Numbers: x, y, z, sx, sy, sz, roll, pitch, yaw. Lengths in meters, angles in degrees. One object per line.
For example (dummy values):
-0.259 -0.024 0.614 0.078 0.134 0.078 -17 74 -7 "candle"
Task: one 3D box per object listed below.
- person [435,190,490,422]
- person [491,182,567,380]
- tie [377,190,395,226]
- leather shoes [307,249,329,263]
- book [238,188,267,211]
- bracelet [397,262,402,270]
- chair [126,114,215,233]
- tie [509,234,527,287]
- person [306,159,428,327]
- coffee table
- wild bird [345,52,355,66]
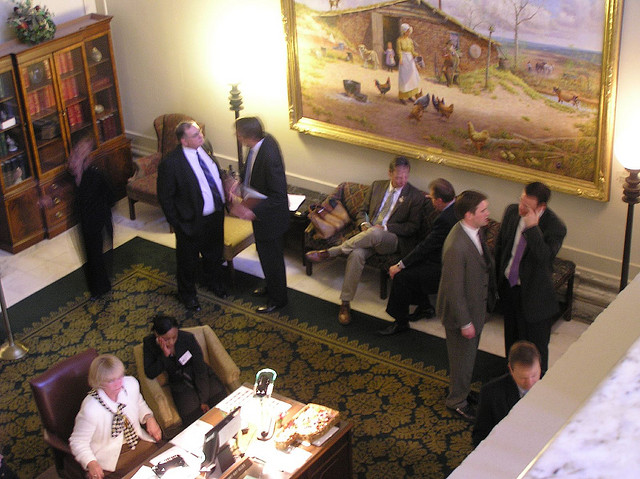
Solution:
1.155 0.577 4.278 0.424 1.964 0.339 5 25 9 "person"
1.740 0.342 4.428 0.607 1.692 0.419 12 27 22 "person"
0.743 -0.332 5.889 0.074 0.327 0.255 26 -15 -23 "tie"
-0.025 0.182 6.109 0.295 0.108 0.234 -3 11 24 "leather shoes"
-0.711 -0.427 5.412 0.191 0.087 0.255 -19 35 -34 "book"
0.813 0.278 5.386 0.054 0.058 0.018 20 17 34 "bracelet"
-2.160 -0.952 7.430 0.984 1.368 1.005 27 35 36 "chair"
1.644 0.166 4.419 0.062 0.412 0.096 13 -5 -39 "tie"
0.519 -0.033 5.778 1.319 1.598 0.777 -19 30 -39 "person"
-0.524 -0.101 6.323 1.051 1.022 0.850 11 37 17 "coffee table"
0.341 -2.109 6.141 0.109 0.114 0.028 8 18 37 "wild bird"
